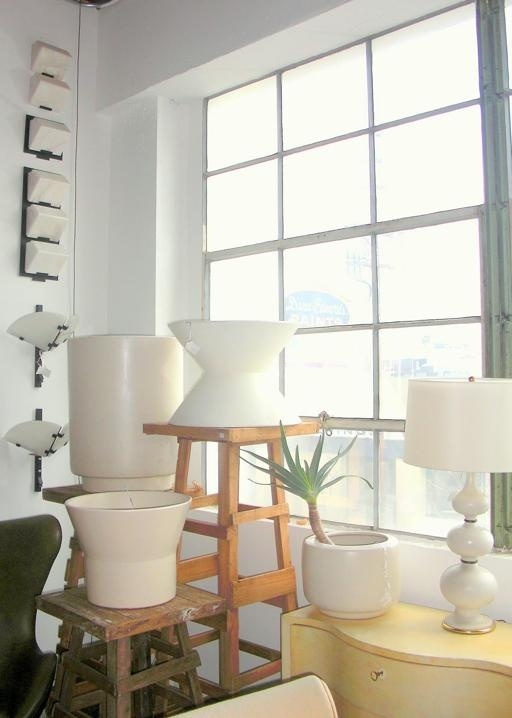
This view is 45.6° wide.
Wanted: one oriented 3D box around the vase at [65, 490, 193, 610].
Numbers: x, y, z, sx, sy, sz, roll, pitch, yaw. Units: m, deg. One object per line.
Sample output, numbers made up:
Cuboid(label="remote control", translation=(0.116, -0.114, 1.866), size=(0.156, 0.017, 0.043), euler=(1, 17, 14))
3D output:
Cuboid(label="vase", translation=(-0.282, 0.434, 1.403), size=(0.280, 0.220, 0.285), euler=(1, -5, -36))

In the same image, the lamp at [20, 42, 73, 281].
Cuboid(label="lamp", translation=(-0.811, -0.782, 2.448), size=(0.118, 0.737, 0.238), euler=(0, 0, 33))

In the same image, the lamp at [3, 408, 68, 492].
Cuboid(label="lamp", translation=(-0.840, 0.358, 2.329), size=(0.222, 0.247, 0.223), euler=(0, 0, -21))

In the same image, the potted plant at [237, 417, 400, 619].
Cuboid(label="potted plant", translation=(0.195, 0.419, 1.728), size=(0.549, 0.562, 0.326), euler=(-1, -3, 30))

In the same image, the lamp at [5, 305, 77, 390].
Cuboid(label="lamp", translation=(-0.826, -0.047, 2.326), size=(0.226, 0.246, 0.259), euler=(0, 0, -24))
